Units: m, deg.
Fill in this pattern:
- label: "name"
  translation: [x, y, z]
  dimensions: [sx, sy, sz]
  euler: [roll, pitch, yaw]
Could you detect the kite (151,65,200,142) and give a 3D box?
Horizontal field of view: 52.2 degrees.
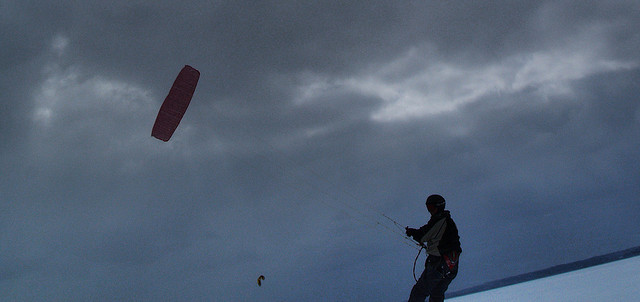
- label: "kite"
  translation: [-5.574, -1.896, 25.331]
  dimensions: [1.246, 0.392, 3.559]
  euler: [30, -86, -9]
